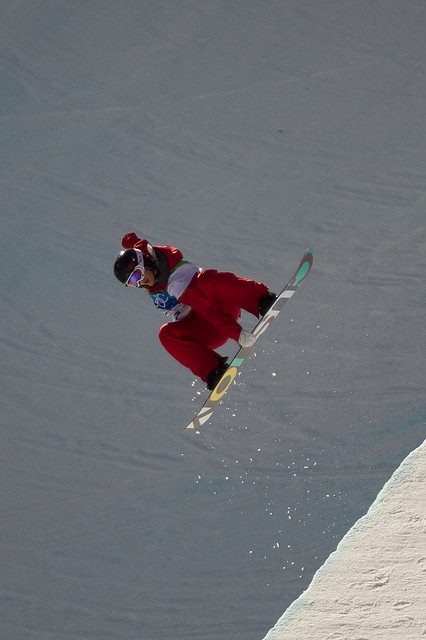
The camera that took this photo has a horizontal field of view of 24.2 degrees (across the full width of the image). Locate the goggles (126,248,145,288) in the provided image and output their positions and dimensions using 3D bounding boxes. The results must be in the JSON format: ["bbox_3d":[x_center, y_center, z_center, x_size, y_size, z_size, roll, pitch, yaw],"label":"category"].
[{"bbox_3d":[-0.593,-0.407,7.871,0.097,0.200,0.233,2,84,-31],"label":"goggles"}]

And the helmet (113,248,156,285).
[{"bbox_3d":[-0.616,-0.424,7.926,0.348,0.234,0.260,4,86,-3],"label":"helmet"}]

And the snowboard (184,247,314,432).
[{"bbox_3d":[0.354,0.272,8.942,0.154,0.296,2.177,27,70,29],"label":"snowboard"}]
